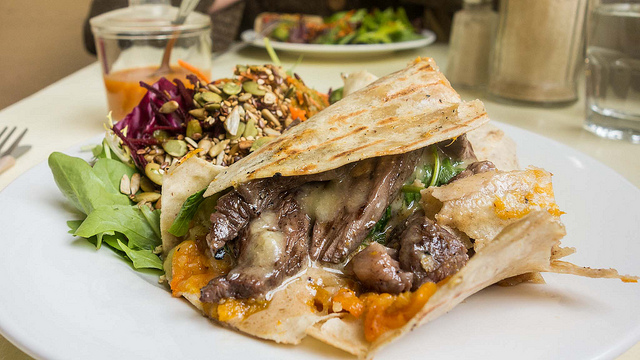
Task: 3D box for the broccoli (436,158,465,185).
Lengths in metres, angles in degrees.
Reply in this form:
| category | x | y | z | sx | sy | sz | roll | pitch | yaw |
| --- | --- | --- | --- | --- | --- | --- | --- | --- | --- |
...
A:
| category | x | y | z | sx | sy | sz | roll | pitch | yaw |
| --- | --- | --- | --- | --- | --- | --- | --- | --- | --- |
| broccoli | 0.777 | -0.053 | 3.195 | 0.165 | 0.052 | 0.153 | 14 | 63 | 8 |
